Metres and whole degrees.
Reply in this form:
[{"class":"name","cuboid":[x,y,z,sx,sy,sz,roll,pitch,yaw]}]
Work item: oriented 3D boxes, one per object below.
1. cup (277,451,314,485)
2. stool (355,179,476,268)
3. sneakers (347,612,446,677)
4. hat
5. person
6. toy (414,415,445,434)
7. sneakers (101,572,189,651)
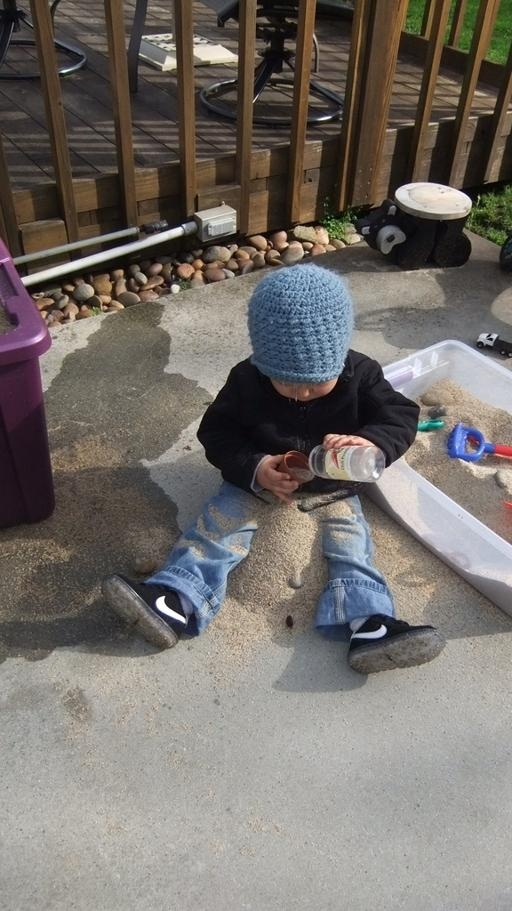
[{"class":"cup","cuboid":[0.099,0.025,1.662,0.073,0.057,0.078,17,51,-23]},{"class":"stool","cuboid":[0.666,-0.998,3.043,0.461,0.297,0.352,-2,63,0]},{"class":"sneakers","cuboid":[0.281,0.404,1.522,0.237,0.099,0.155,-13,20,10]},{"class":"hat","cuboid":[0.083,-0.296,1.521,0.225,0.226,0.249,5,23,2]},{"class":"person","cuboid":[0.113,-0.007,1.572,0.651,0.758,0.803,8,39,13]},{"class":"toy","cuboid":[0.525,-0.095,2.107,0.058,0.033,0.093,-10,8,-32]},{"class":"sneakers","cuboid":[-0.235,0.342,1.539,0.135,0.240,0.141,19,39,18]}]
